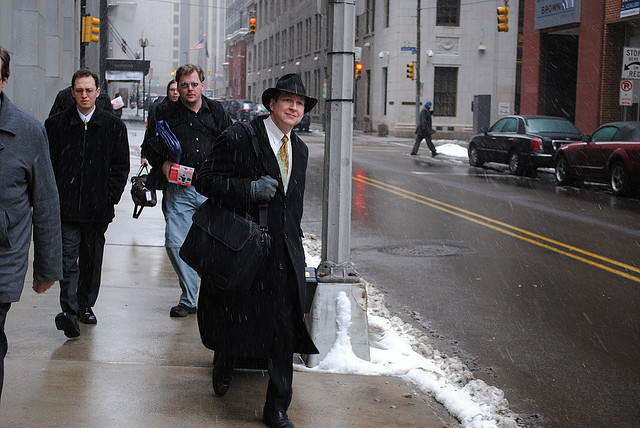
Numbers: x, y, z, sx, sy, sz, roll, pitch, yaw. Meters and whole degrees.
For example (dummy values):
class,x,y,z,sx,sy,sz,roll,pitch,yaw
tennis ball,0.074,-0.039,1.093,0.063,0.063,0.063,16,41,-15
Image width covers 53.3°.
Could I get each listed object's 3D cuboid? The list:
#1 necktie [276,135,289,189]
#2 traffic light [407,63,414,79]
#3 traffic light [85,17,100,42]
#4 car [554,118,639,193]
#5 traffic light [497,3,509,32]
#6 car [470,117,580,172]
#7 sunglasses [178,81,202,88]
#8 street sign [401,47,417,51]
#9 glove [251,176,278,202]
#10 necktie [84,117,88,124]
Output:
class,x,y,z,sx,sy,sz,roll,pitch,yaw
necktie,-0.299,-0.428,5.158,0.098,0.407,0.089,-1,9,-18
traffic light,5.753,-9.094,40.529,0.353,0.897,1.081,2,10,7
traffic light,-7.597,-6.102,21.182,0.317,0.778,1.097,0,11,-11
car,7.945,-1.600,18.052,0.661,1.852,3.404,0,11,-9
traffic light,8.752,-9.297,30.262,0.416,1.369,3.020,4,11,17
car,7.228,-2.522,22.782,1.197,1.119,3.229,-1,11,-14
sunglasses,-1.450,-1.426,7.079,0.224,0.061,0.080,2,11,0
street sign,5.641,-10.413,40.328,0.739,0.198,1.253,10,14,32
glove,-0.428,-0.165,5.006,0.239,0.231,0.169,-16,-2,1
necktie,-2.464,-0.971,6.673,0.040,0.073,0.015,-1,3,-13
